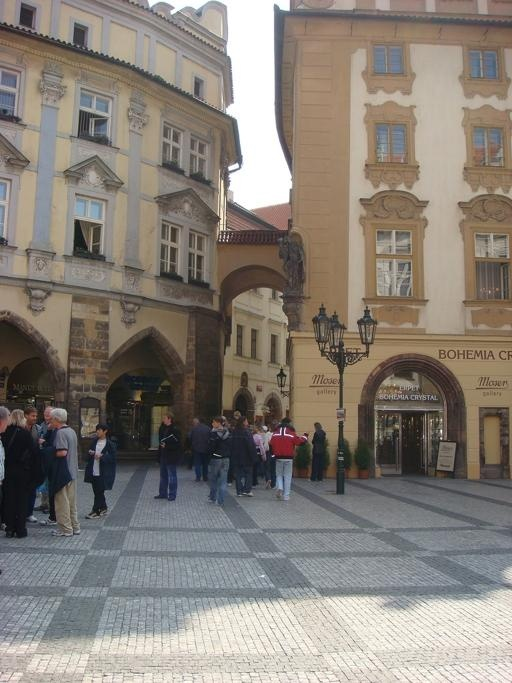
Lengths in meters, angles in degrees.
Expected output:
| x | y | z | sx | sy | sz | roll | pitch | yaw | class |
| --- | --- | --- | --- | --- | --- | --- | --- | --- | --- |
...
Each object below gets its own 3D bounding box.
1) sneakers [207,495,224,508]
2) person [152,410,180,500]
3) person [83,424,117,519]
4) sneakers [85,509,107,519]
| x | y | z | sx | sy | sz | roll | pitch | yaw | class |
| --- | --- | --- | --- | --- | --- | --- | --- | --- | --- |
| -0.808 | 3.224 | 12.519 | 0.152 | 0.190 | 0.438 | 3 | -1 | -9 | sneakers |
| -1.870 | 2.458 | 13.195 | 0.459 | 1.813 | 1.209 | 2 | -6 | -8 | person |
| -2.624 | 2.176 | 10.509 | 0.480 | 1.570 | 1.256 | 3 | -6 | -13 | person |
| -2.667 | 2.891 | 10.409 | 0.126 | 0.101 | 0.357 | -3 | -12 | 14 | sneakers |
